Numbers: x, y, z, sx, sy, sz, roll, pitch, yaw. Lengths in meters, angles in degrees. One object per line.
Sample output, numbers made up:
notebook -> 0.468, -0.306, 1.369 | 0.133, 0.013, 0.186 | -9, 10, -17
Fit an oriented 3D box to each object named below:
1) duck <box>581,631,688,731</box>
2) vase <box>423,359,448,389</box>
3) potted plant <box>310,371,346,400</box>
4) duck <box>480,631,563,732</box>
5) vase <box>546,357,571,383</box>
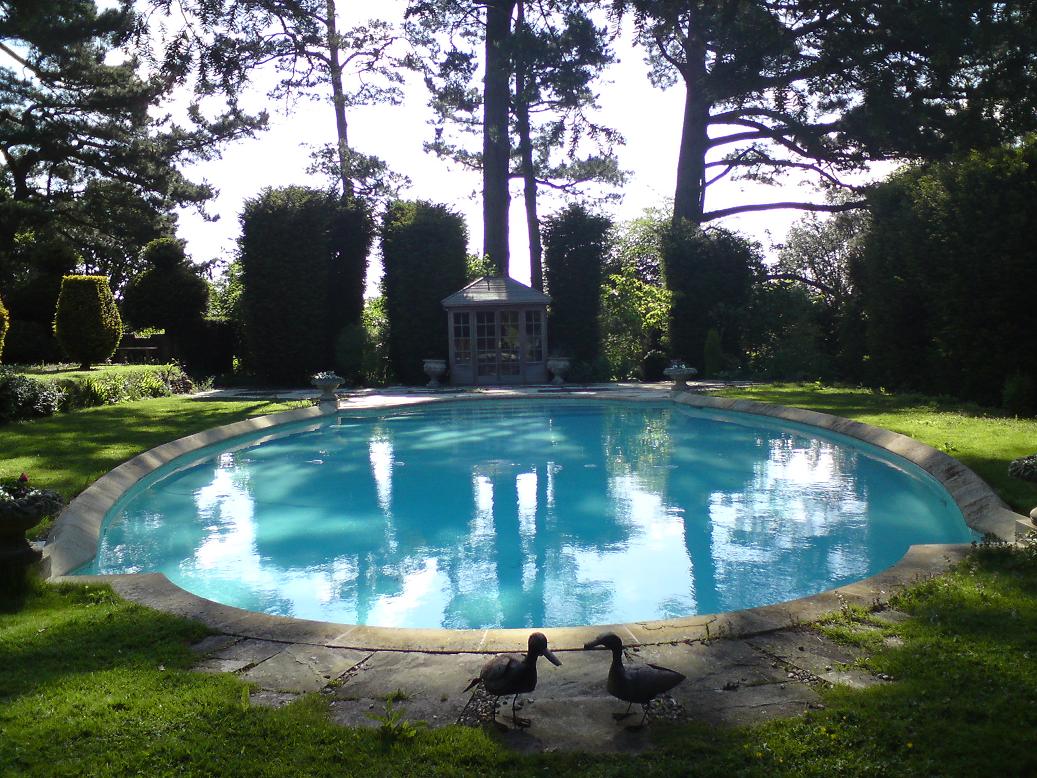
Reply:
duck -> 0.678, 1.683, 4.461 | 0.726, 0.609, 0.309 | 1, -5, -27
vase -> -2.383, -0.328, 21.684 | 0.709, 0.842, 0.787 | 1, 1, -2
potted plant -> -4.430, 0.010, 17.461 | 0.711, 0.687, 0.717 | 0, -3, -8
duck -> -0.023, 1.681, 4.421 | 0.283, 0.452, 0.644 | 12, -14, -44
vase -> 1.137, -0.450, 21.664 | 0.698, 0.754, 0.680 | 0, -2, -7
